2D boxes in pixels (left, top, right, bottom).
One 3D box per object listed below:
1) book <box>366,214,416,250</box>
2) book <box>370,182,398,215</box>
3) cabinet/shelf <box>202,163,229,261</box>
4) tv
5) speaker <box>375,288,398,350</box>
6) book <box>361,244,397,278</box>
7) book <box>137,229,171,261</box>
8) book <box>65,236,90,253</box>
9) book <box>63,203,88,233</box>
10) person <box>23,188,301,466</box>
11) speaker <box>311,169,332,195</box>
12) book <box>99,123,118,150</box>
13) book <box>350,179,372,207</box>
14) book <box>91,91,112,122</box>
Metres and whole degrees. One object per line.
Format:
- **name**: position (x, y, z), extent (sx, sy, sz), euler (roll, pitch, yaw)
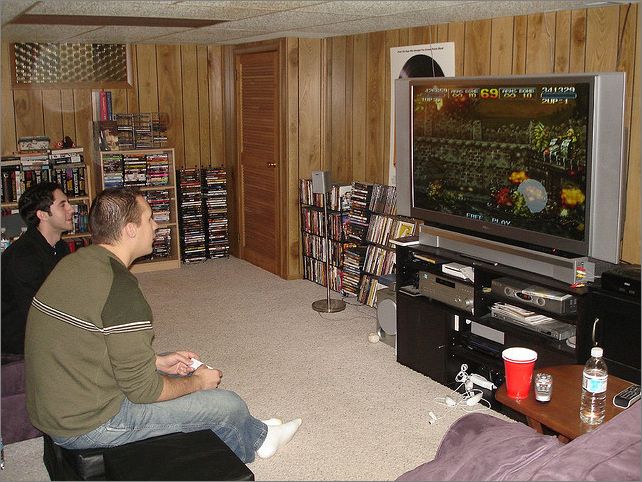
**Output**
- **book**: position (0.626, -0.096, 4.474), extent (0.494, 0.265, 0.115), euler (11, 5, 43)
- **book**: position (0.572, -0.387, 4.491), extent (0.112, 0.286, 0.332), euler (1, 2, -32)
- **cabinet/shelf**: position (-1.373, -0.370, 6.366), extent (0.285, 0.947, 0.696), euler (-2, 6, -14)
- **tv**: position (1.206, -0.401, 3.036), extent (0.515, 1.004, 1.432), euler (-10, 15, -40)
- **speaker**: position (0.555, 0.646, 3.949), extent (0.130, 0.464, 0.356), euler (-4, 14, -12)
- **book**: position (0.546, 0.187, 4.592), extent (0.282, 0.273, 0.067), euler (18, 15, 35)
- **book**: position (-1.466, 0.037, 4.310), extent (0.356, 0.336, 0.256), euler (-2, 13, -20)
- **book**: position (-2.227, 0.022, 4.426), extent (0.215, 0.129, 0.237), euler (-16, -12, 42)
- **book**: position (-2.325, -0.233, 4.631), extent (0.188, 0.309, 0.326), euler (-1, 11, -23)
- **person**: position (-0.715, 0.472, 2.406), extent (1.316, 1.333, 0.785), euler (-1, -1, -40)
- **speaker**: position (-0.002, -0.581, 4.791), extent (0.180, 0.230, 0.164), euler (-2, 14, -1)
- **book**: position (-2.484, -1.235, 5.695), extent (0.194, 0.324, 0.074), euler (-9, 16, -27)
- **book**: position (0.359, -0.461, 4.746), extent (0.210, 0.287, 0.301), euler (4, 7, -16)
- **book**: position (-2.624, -1.637, 5.835), extent (0.238, 0.337, 0.049), euler (-7, 15, -20)
